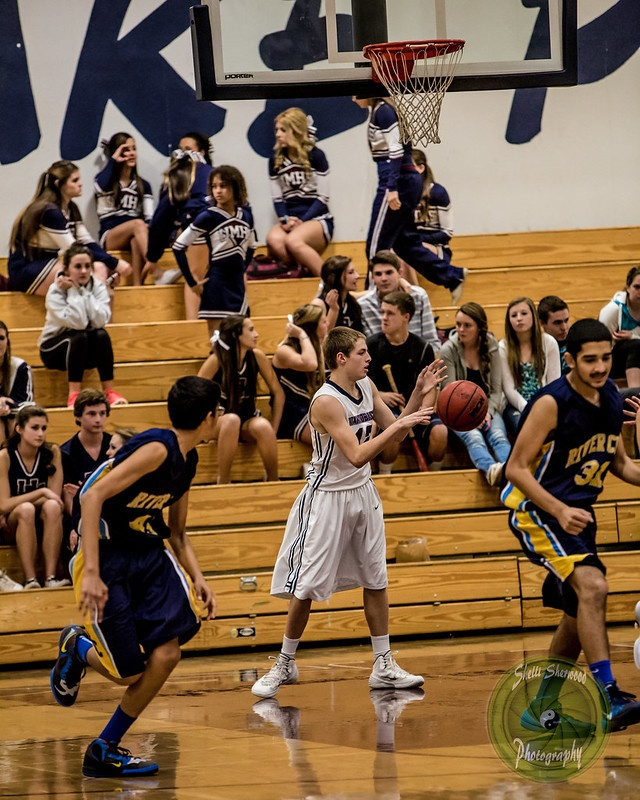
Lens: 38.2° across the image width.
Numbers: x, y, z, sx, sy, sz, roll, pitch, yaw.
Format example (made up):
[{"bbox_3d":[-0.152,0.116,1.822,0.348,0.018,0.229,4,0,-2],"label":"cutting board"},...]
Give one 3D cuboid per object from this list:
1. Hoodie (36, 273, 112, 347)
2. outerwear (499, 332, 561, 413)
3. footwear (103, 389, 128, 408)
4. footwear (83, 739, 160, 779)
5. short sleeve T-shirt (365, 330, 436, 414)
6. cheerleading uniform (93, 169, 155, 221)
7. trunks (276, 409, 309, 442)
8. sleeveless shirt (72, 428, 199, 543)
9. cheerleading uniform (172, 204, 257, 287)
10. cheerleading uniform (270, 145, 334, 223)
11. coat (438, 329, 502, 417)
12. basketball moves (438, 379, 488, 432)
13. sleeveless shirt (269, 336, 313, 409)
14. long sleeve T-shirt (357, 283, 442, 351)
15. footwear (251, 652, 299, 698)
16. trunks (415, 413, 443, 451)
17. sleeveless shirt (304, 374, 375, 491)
[{"bbox_3d":[-1.515,-0.506,5.745,0.428,0.445,0.360,10,15,44],"label":"Hoodie"},{"bbox_3d":[1.217,-0.169,5.383,0.386,0.467,0.172,-3,-4,4],"label":"outerwear"},{"bbox_3d":[-1.213,-0.012,5.515,0.101,0.089,0.213,-11,7,-29],"label":"footwear"},{"bbox_3d":[-0.561,1.013,2.636,0.256,0.104,0.086,0,0,1],"label":"footwear"},{"bbox_3d":[0.431,-0.182,5.082,0.372,0.452,0.147,-3,9,-1],"label":"short sleeve T-shirt"},{"bbox_3d":[-1.610,-1.665,7.590,0.541,0.464,0.300,5,4,-20],"label":"cheerleading uniform"},{"bbox_3d":[-0.162,0.136,5.337,0.191,0.186,0.070,7,6,34],"label":"trunks"},{"bbox_3d":[-0.503,0.254,2.709,0.279,0.329,0.322,-1,-7,-29],"label":"sleeveless shirt"},{"bbox_3d":[-0.626,-1.008,6.158,0.640,0.583,0.296,-8,14,-41],"label":"cheerleading uniform"},{"bbox_3d":[-0.158,-1.696,7.269,0.498,0.586,0.382,-1,17,10],"label":"cheerleading uniform"},{"bbox_3d":[0.874,-0.172,5.270,0.413,0.507,0.188,1,-9,-6],"label":"coat"},{"bbox_3d":[0.692,0.039,4.465,0.256,0.242,0.252,8,17,18],"label":"basketball moves"},{"bbox_3d":[-0.128,-0.142,5.326,0.356,0.411,0.235,-2,12,8],"label":"sleeveless shirt"},{"bbox_3d":[0.537,-0.496,5.712,0.256,0.438,0.485,-32,34,-33],"label":"long sleeve T-shirt"},{"bbox_3d":[-0.172,1.089,3.687,0.093,0.111,0.255,14,5,24],"label":"footwear"},{"bbox_3d":[0.611,0.158,5.275,0.104,0.141,0.255,-42,17,17],"label":"trunks"},{"bbox_3d":[0.080,0.131,3.617,0.283,0.434,0.388,-4,-6,0],"label":"sleeveless shirt"}]
